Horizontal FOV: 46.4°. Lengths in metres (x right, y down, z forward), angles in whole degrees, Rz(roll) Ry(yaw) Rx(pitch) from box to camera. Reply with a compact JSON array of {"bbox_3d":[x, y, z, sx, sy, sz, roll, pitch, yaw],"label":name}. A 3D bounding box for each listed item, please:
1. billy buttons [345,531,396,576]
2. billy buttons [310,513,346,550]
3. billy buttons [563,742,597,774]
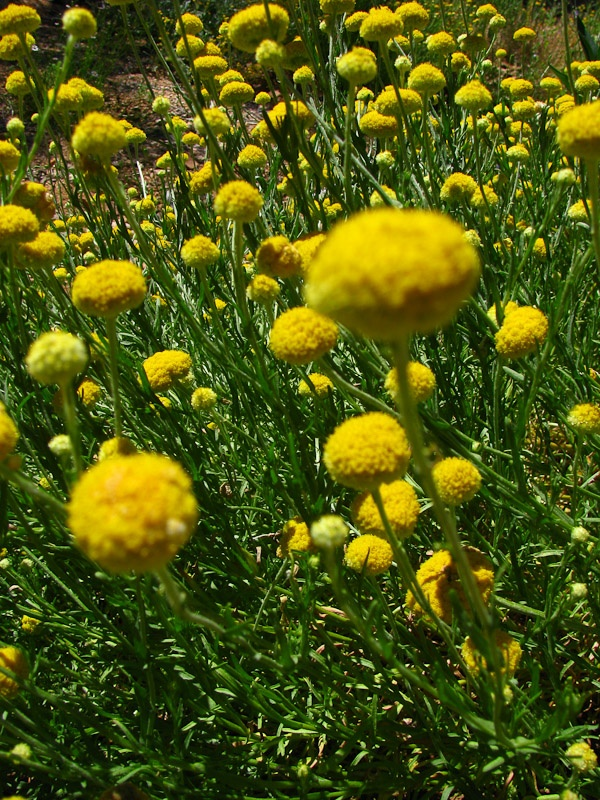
[{"bbox_3d":[0.142,0.328,1.480,0.093,0.097,0.053,0,56,12],"label":"billy buttons"},{"bbox_3d":[0.044,0.194,1.004,0.064,0.034,0.056,1,70,-5],"label":"billy buttons"},{"bbox_3d":[0.561,0.704,1.403,0.065,0.072,0.040,-3,84,4],"label":"billy buttons"}]
